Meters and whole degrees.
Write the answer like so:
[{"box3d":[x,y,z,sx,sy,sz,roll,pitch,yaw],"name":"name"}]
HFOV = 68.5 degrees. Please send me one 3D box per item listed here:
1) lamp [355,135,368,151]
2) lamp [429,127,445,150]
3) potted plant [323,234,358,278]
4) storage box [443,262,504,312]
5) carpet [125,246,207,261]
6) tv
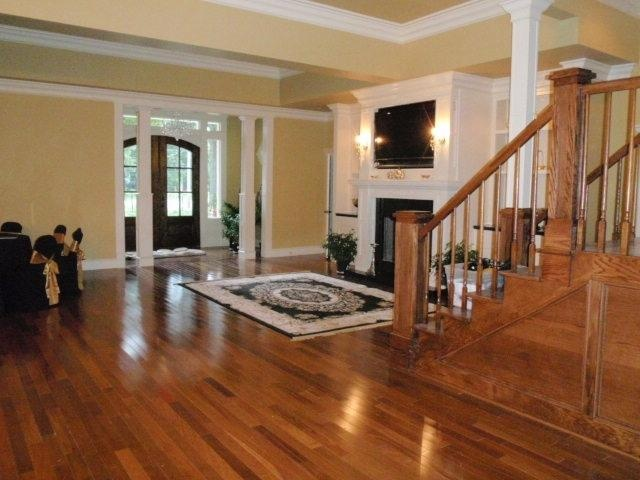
[{"box3d":[0.735,-1.783,8.547,0.232,0.143,0.268,5,-5,-28],"name":"lamp"},{"box3d":[1.836,-1.605,7.372,0.100,0.336,0.330,-4,11,-23],"name":"lamp"},{"box3d":[0.321,0.265,8.756,0.781,0.766,0.689,-2,5,-17],"name":"potted plant"},{"box3d":[1.436,0.383,4.571,0.568,0.414,0.581,-10,14,-31],"name":"storage box"},{"box3d":[-3.572,0.279,10.738,1.784,0.119,1.463,-5,10,-33],"name":"carpet"},{"box3d":[1.437,-1.774,7.812,0.150,1.101,1.382,-6,6,-45],"name":"tv"}]
